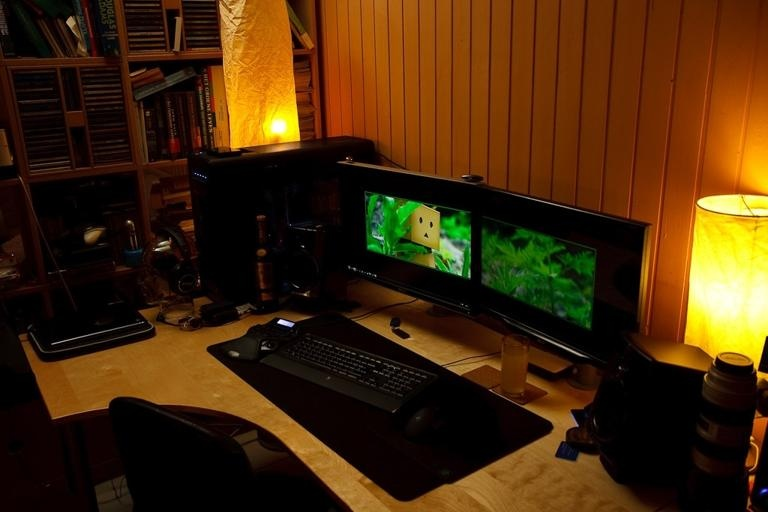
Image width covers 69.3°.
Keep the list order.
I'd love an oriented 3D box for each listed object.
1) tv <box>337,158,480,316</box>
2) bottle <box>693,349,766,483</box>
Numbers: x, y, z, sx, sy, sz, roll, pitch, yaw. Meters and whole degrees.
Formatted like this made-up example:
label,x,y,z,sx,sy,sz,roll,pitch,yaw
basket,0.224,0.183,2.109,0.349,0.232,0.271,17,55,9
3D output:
label,x,y,z,sx,sy,sz,roll,pitch,yaw
tv,0.109,-0.069,2.416,0.665,0.480,0.071,16,25,37
bottle,0.929,0.439,1.511,0.128,0.304,0.135,-1,22,1
